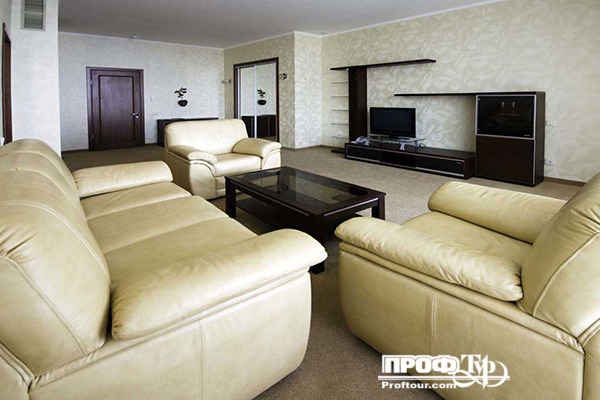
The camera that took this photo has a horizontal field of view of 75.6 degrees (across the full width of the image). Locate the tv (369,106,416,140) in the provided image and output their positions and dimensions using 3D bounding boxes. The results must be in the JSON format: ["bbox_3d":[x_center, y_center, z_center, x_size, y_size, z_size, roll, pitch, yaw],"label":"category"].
[{"bbox_3d":[1.680,-1.416,7.036,0.240,0.491,0.934,-9,18,-30],"label":"tv"}]

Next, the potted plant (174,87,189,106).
[{"bbox_3d":[-3.032,-2.616,9.927,0.335,0.469,0.110,-12,20,-38],"label":"potted plant"}]
